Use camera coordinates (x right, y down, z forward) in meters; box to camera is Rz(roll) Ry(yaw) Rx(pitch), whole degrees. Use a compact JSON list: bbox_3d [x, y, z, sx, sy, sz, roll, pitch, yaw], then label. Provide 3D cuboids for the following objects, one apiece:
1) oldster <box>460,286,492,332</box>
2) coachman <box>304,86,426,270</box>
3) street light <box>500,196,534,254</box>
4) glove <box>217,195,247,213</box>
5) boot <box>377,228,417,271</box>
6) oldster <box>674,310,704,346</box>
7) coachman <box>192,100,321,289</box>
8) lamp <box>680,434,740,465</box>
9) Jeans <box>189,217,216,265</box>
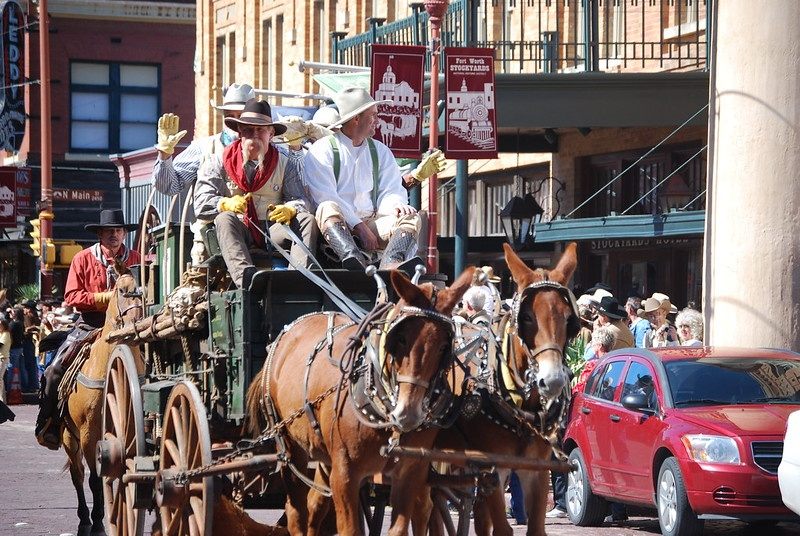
[{"bbox_3d":[1.162,0.634,29.467,0.678,0.407,0.487,-1,8,-31],"label":"oldster"},{"bbox_3d":[-0.490,-1.126,27.516,1.597,2.801,2.138,5,-1,-31],"label":"coachman"},{"bbox_3d":[2.333,-0.832,37.812,0.809,0.999,0.755,2,7,24],"label":"street light"},{"bbox_3d":[-2.316,-0.875,27.221,0.326,0.134,0.242,14,49,22],"label":"glove"},{"bbox_3d":[0.031,-0.235,27.010,0.341,0.658,0.677,4,38,1],"label":"boot"},{"bbox_3d":[4.890,1.066,32.613,0.516,0.647,0.516,10,-6,-10],"label":"oldster"},{"bbox_3d":[-2.035,-1.093,27.559,1.441,2.967,2.020,1,-1,6],"label":"coachman"},{"bbox_3d":[4.595,2.636,28.404,0.592,0.256,0.451,5,-1,38],"label":"lamp"},{"bbox_3d":[-2.867,-0.336,28.043,0.233,0.575,0.266,12,8,10],"label":"Jeans"}]
